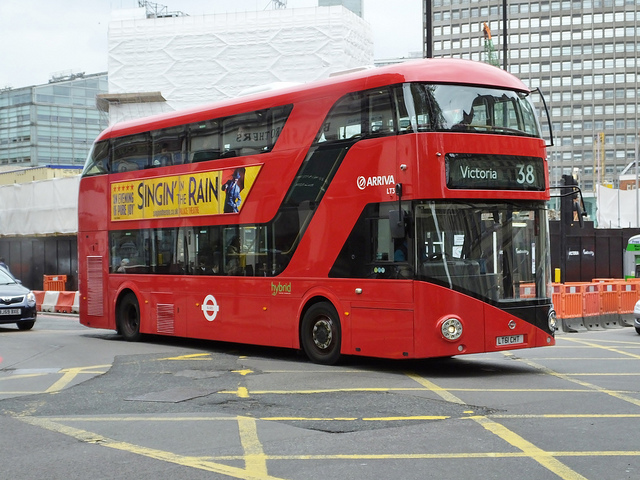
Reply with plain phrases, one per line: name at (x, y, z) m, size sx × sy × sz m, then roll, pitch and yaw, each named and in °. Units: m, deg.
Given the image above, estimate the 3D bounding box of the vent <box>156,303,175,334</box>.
vent at (-3.458, 1.722, 16.944) m, size 0.093 × 0.689 × 0.651 m, roll -2°, pitch 3°, yaw -38°

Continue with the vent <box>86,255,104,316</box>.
vent at (-5.606, 1.125, 18.823) m, size 0.150 × 1.445 × 0.800 m, roll -1°, pitch 2°, yaw -38°

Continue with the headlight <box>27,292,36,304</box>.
headlight at (-7.976, 1.569, 20.885) m, size 0.179 × 0.261 × 0.257 m, roll -1°, pitch -4°, yaw -43°

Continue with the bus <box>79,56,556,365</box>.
bus at (-0.996, -0.475, 17.203) m, size 3.704 × 5.196 × 12.207 m, roll -1°, pitch -1°, yaw -43°
